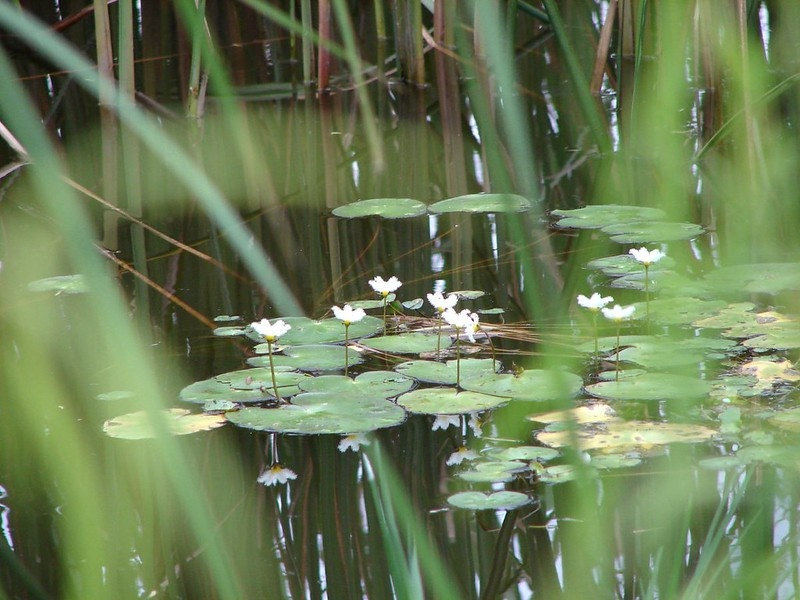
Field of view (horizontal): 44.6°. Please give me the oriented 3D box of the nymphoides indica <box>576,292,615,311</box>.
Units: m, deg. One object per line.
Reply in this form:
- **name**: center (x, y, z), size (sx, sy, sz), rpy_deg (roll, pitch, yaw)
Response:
- **nymphoides indica**: center (0.453, 0.005, 2.257), size (0.076, 0.033, 0.073), rpy_deg (-6, -10, 22)

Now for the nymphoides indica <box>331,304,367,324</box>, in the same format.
- **nymphoides indica**: center (-0.116, 0.044, 2.250), size (0.064, 0.026, 0.060), rpy_deg (3, 12, 4)

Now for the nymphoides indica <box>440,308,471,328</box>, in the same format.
- **nymphoides indica**: center (0.126, 0.039, 2.205), size (0.053, 0.020, 0.051), rpy_deg (2, 8, 8)

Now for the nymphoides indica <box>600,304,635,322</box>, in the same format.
- **nymphoides indica**: center (0.498, 0.041, 2.249), size (0.069, 0.028, 0.066), rpy_deg (-2, 0, -36)
